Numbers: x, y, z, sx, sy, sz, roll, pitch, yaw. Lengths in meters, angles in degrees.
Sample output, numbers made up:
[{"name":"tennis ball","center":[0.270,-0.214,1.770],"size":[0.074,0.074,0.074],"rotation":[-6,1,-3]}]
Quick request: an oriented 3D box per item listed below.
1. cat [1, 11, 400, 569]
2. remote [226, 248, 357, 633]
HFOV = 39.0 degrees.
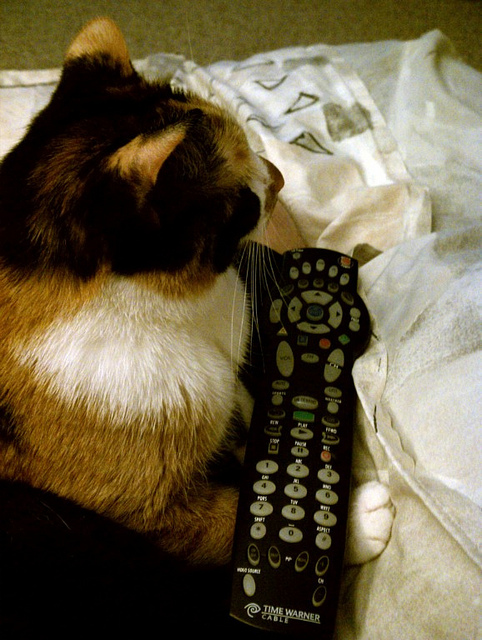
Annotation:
[{"name":"cat","center":[-0.095,0.051,0.525],"size":[0.169,0.264,0.498],"rotation":[24,111,39]},{"name":"remote","center":[0.043,0.069,0.474],"size":[0.074,0.037,0.270],"rotation":[7,63,12]}]
